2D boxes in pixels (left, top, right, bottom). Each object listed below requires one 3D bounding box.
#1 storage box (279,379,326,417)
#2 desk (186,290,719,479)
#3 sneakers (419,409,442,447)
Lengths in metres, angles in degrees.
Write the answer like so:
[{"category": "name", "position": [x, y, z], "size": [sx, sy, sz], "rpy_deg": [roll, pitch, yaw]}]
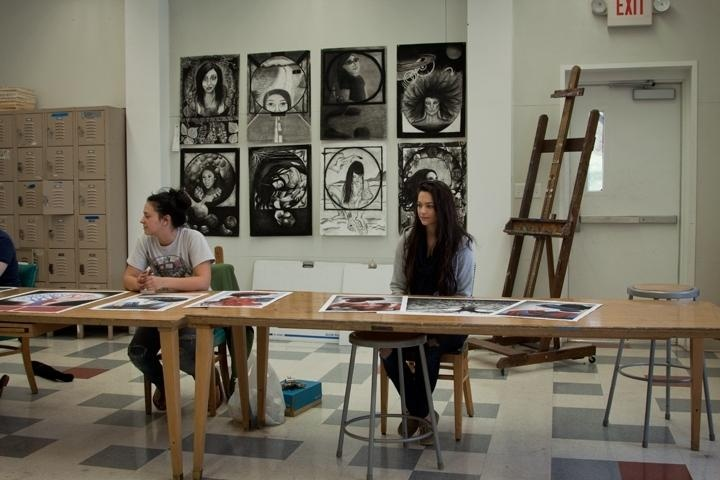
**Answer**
[{"category": "storage box", "position": [-0.524, 1.280, 4.686], "size": [0.232, 0.155, 0.338], "rpy_deg": [1, 1, 18]}, {"category": "desk", "position": [0.574, 1.010, 3.889], "size": [3.467, 1.098, 0.595], "rpy_deg": [0, 10, 4]}, {"category": "sneakers", "position": [0.517, 1.392, 4.201], "size": [0.113, 0.146, 0.337], "rpy_deg": [-5, 15, 10]}]
